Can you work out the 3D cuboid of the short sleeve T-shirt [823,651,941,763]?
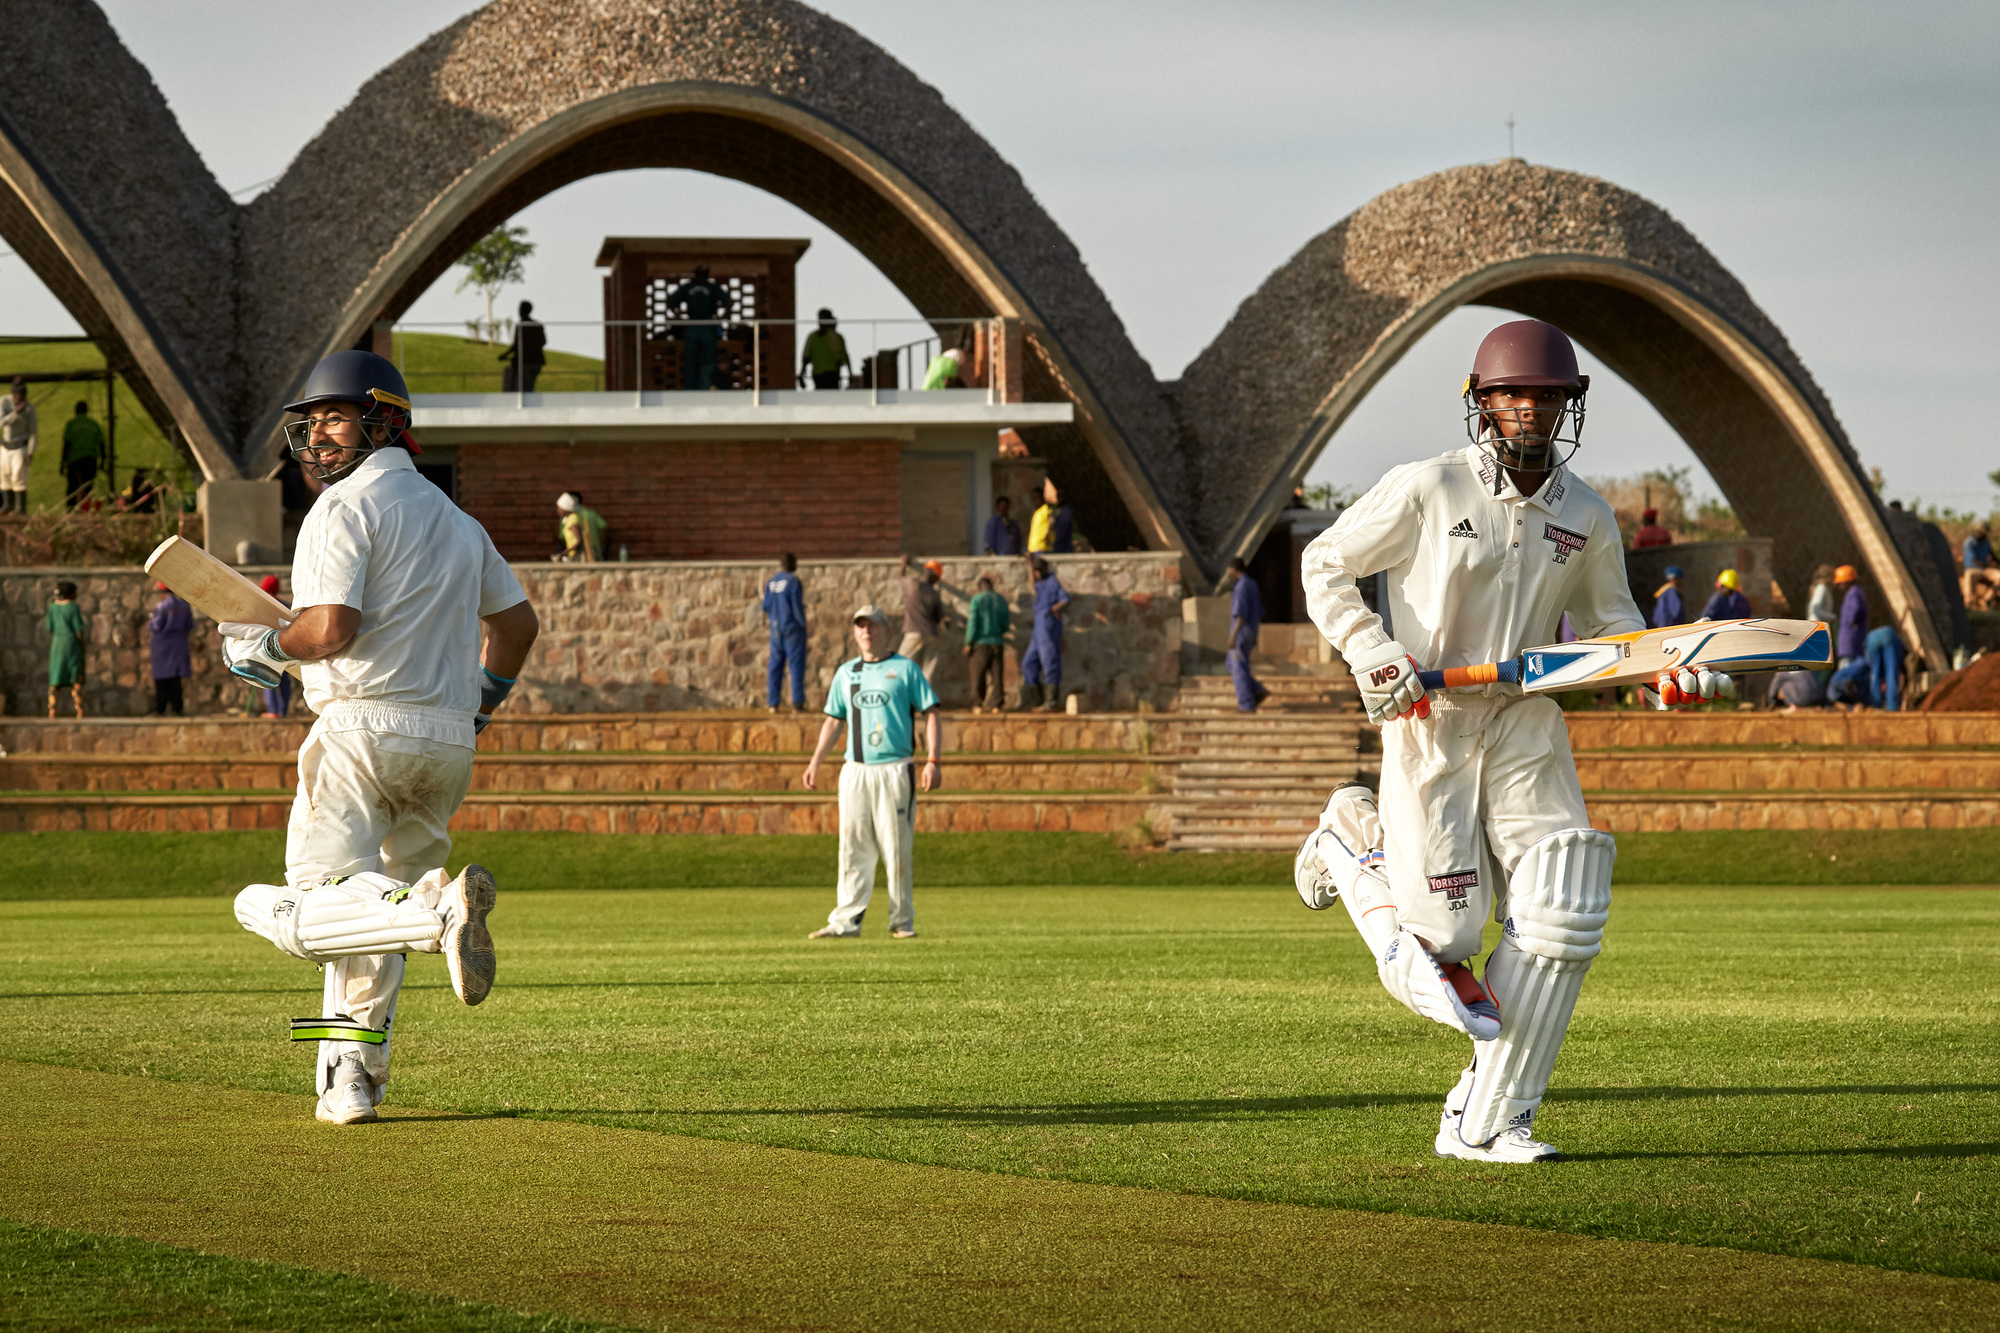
[{"bbox_3d":[-1.163,0.442,40.782,1.425,1.105,0.532,-1,-4,2],"label":"short sleeve T-shirt"}]

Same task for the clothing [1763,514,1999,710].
[{"bbox_3d":[12.759,-1.044,59.610,2.875,3.186,3.668,-25,-11,12],"label":"clothing"}]

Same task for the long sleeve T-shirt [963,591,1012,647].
[{"bbox_3d":[-0.101,-0.619,51.985,0.747,0.741,0.430,-1,8,-14],"label":"long sleeve T-shirt"}]

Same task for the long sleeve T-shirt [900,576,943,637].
[{"bbox_3d":[-0.956,-0.791,52.084,0.754,0.755,0.435,4,14,20],"label":"long sleeve T-shirt"}]

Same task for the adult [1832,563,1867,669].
[{"bbox_3d":[11.418,-0.761,53.673,0.445,1.342,1.797,1,13,12],"label":"adult"}]

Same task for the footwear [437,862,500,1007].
[{"bbox_3d":[-4.264,2.188,33.197,0.419,1.143,0.523,-5,-5,-45],"label":"footwear"}]

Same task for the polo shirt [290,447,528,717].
[{"bbox_3d":[-5.113,-0.679,34.137,1.355,2.352,2.558,-5,-6,40],"label":"polo shirt"}]

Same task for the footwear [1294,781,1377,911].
[{"bbox_3d":[2.886,1.375,33.698,0.482,1.235,0.544,20,26,-6],"label":"footwear"}]
